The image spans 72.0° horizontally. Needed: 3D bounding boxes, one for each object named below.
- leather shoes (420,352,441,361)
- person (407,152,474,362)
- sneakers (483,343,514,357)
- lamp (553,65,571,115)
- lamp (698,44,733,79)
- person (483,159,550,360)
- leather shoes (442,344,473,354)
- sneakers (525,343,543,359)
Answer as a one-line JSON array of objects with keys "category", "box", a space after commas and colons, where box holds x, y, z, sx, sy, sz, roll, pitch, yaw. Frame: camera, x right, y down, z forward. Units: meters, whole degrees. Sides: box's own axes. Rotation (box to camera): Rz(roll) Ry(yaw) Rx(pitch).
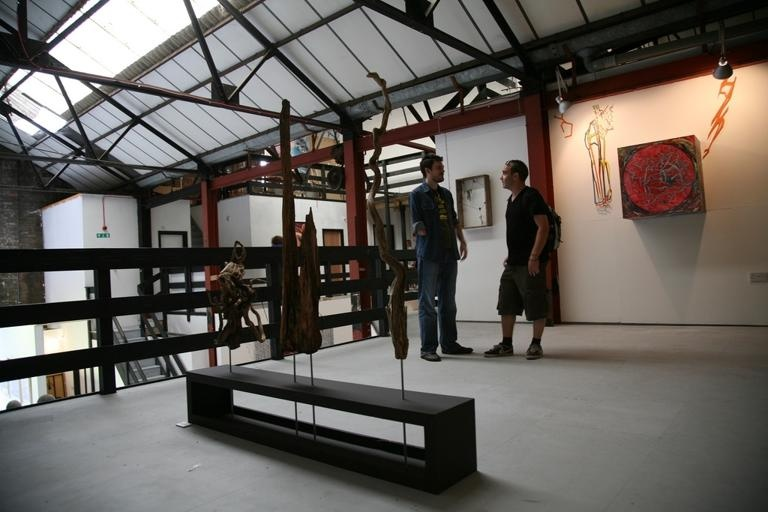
[{"category": "leather shoes", "box": [0.491, 1.064, 5.615, 0.212, 0.081, 0.143, -1, 10, 14]}, {"category": "person", "box": [0.599, 0.030, 5.739, 0.553, 2.239, 0.698, 2, 10, 30]}, {"category": "sneakers", "box": [1.223, 1.004, 5.643, 0.344, 0.162, 0.122, 1, -4, -4]}, {"category": "lamp", "box": [2.468, -2.320, 7.359, 0.183, 0.643, 0.543, 0, 9, 18]}, {"category": "lamp", "box": [4.066, -2.400, 6.491, 0.282, 0.325, 0.514, 8, -30, 33]}, {"category": "person", "box": [1.420, 0.029, 5.501, 0.633, 2.014, 0.448, 1, 9, 22]}, {"category": "leather shoes", "box": [0.799, 1.034, 5.856, 0.342, 0.150, 0.127, -2, -6, -2]}, {"category": "sneakers", "box": [1.549, 0.974, 5.450, 0.184, 0.155, 0.150, -2, 9, 4]}]
